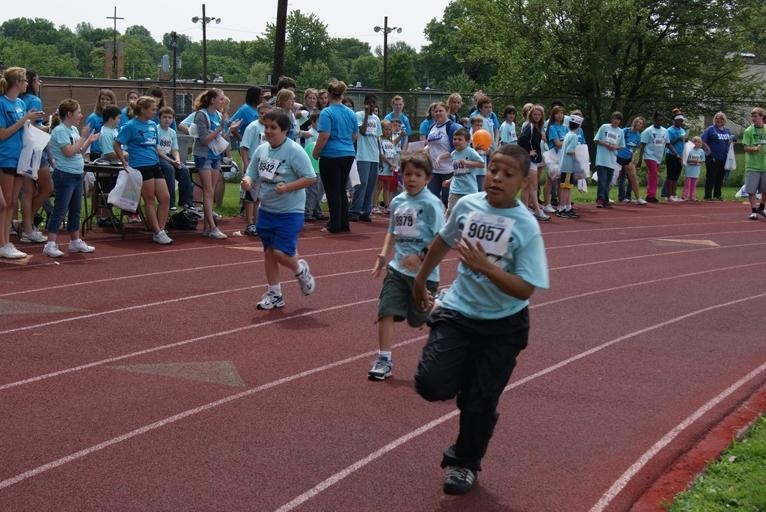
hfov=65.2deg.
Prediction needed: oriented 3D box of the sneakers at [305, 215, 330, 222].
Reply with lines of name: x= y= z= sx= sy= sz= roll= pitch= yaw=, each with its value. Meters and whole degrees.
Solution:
sneakers: x=-1.522 y=-0.869 z=14.003 sx=0.564 sy=0.233 sz=0.190 roll=-3 pitch=2 yaw=11

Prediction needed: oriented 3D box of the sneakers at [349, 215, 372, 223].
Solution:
sneakers: x=-0.535 y=-0.858 z=14.075 sx=0.530 sy=0.227 sz=0.175 roll=0 pitch=1 yaw=-1

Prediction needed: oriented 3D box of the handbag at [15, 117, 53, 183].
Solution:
handbag: x=-5.437 y=-1.647 z=9.298 sx=0.219 sy=0.842 sz=0.479 roll=10 pitch=15 yaw=32

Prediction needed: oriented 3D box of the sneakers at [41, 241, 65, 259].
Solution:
sneakers: x=-5.266 y=-0.104 z=9.563 sx=0.282 sy=0.260 sz=0.255 roll=-6 pitch=15 yaw=-30

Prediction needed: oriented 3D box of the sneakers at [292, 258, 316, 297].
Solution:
sneakers: x=-0.967 y=0.260 z=7.567 sx=0.190 sy=0.521 sz=0.227 roll=-16 pitch=22 yaw=12

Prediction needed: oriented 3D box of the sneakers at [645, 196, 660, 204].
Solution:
sneakers: x=8.571 y=-1.794 z=19.132 sx=0.478 sy=0.201 sz=0.169 roll=2 pitch=9 yaw=-21

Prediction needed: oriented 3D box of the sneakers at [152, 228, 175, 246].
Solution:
sneakers: x=-3.963 y=-0.334 z=10.861 sx=0.465 sy=0.196 sz=0.185 roll=7 pitch=18 yaw=42

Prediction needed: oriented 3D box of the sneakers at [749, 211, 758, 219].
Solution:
sneakers: x=9.793 y=-1.052 z=15.845 sx=0.131 sy=0.126 sz=0.332 roll=0 pitch=1 yaw=36

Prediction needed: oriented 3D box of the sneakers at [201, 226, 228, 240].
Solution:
sneakers: x=-3.236 y=-0.439 z=11.405 sx=0.545 sy=0.214 sz=0.199 roll=6 pitch=8 yaw=23

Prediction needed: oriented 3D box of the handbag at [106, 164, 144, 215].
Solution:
handbag: x=-4.731 y=-1.246 z=10.966 sx=0.694 sy=0.851 sz=0.445 roll=13 pitch=23 yaw=-19

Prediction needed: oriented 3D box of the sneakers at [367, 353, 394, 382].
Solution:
sneakers: x=-0.016 y=1.057 z=5.661 sx=0.129 sy=0.162 sz=0.336 roll=-2 pitch=-4 yaw=23

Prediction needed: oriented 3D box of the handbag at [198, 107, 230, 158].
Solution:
handbag: x=-3.243 y=-2.384 z=11.276 sx=0.557 sy=0.878 sz=0.660 roll=15 pitch=35 yaw=10

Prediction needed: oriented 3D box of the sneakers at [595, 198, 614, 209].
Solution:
sneakers: x=6.489 y=-1.496 z=17.514 sx=0.621 sy=0.242 sz=0.210 roll=0 pitch=8 yaw=-23

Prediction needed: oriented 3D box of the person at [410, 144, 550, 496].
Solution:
person: x=0.626 y=0.410 z=3.947 sx=0.787 sy=2.256 sz=0.640 roll=3 pitch=13 yaw=4

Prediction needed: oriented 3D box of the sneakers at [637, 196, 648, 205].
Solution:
sneakers: x=8.070 y=-1.705 z=18.723 sx=0.202 sy=0.235 sz=0.564 roll=-12 pitch=-4 yaw=11

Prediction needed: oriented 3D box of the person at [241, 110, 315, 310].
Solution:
person: x=-1.288 y=-0.564 z=7.374 sx=0.850 sy=2.433 sz=0.601 roll=3 pitch=13 yaw=7
